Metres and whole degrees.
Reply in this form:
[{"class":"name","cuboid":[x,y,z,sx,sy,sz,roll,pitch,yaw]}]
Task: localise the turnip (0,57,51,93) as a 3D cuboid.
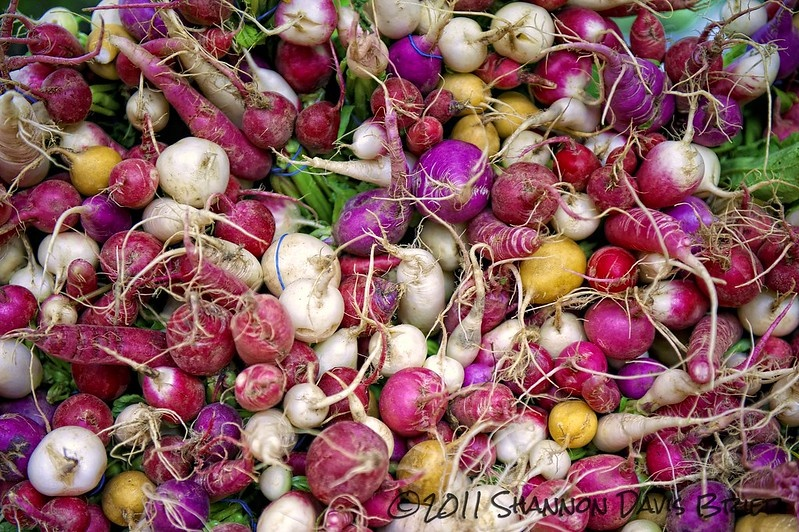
[{"class":"turnip","cuboid":[-1.414,-0.713,2.773,0.164,0.102,0.136,-3,40,0]}]
